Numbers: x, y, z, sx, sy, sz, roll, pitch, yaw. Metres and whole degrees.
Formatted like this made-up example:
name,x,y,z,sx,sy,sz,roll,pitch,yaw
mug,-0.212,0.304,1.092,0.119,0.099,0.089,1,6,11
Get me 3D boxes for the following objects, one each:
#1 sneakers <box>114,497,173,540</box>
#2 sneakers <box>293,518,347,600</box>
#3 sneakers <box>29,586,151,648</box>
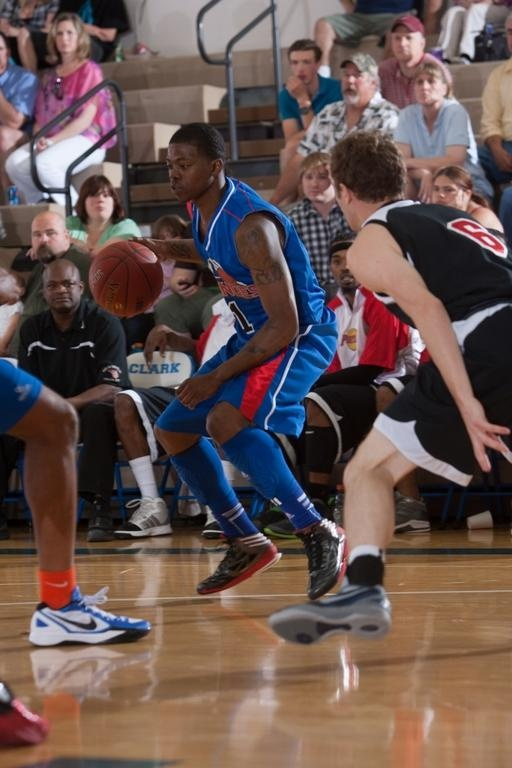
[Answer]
name,x,y,z,sx,sy,sz,roll,pitch,yaw
sneakers,-0.632,0.702,3.413,0.365,0.186,0.129,3,-10,-38
sneakers,0.213,0.524,2.063,0.127,0.086,0.270,38,30,-8
sneakers,-0.408,0.566,1.660,0.381,0.158,0.114,0,-5,-10
